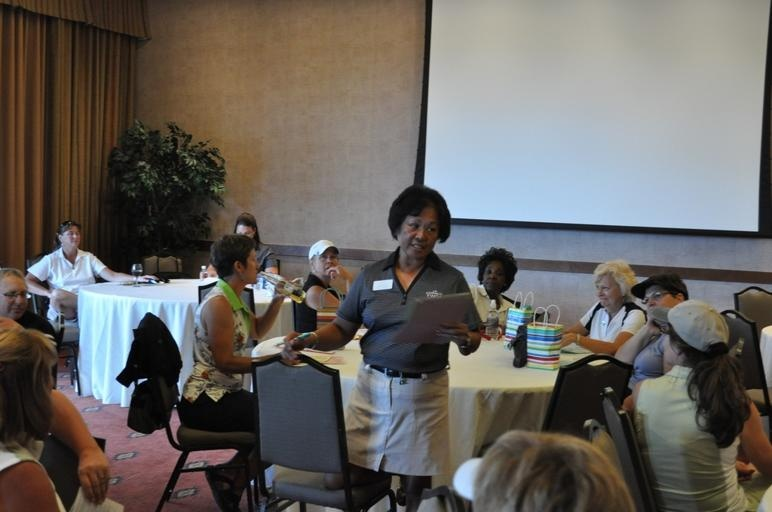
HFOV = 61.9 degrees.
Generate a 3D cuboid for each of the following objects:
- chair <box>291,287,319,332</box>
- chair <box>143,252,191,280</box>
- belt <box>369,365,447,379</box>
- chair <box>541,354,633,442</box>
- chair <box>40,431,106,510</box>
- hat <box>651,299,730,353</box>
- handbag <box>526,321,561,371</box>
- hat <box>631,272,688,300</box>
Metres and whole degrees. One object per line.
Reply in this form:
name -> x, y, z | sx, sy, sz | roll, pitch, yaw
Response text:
chair -> -0.579, 0.429, 4.713 | 0.209, 0.284, 0.154 | -14, -23, 10
chair -> -2.524, 0.111, 7.390 | 0.315, 0.466, 0.338 | 1, -6, -41
belt -> 0.114, 0.612, 3.403 | 0.403, 0.051, 0.087 | 2, 6, 1
chair -> 1.096, 0.778, 3.490 | 0.291, 0.574, 0.321 | 5, 23, -4
chair -> -1.541, 1.023, 3.058 | 0.188, 0.321, 0.103 | 6, 8, 32
hat -> 1.543, 0.308, 3.262 | 0.357, 0.190, 0.255 | 23, 47, 22
handbag -> 1.056, 0.563, 4.271 | 0.218, 0.343, 0.198 | 0, -3, 38
hat -> 1.915, 0.193, 4.480 | 0.301, 0.158, 0.200 | 11, -20, 12
